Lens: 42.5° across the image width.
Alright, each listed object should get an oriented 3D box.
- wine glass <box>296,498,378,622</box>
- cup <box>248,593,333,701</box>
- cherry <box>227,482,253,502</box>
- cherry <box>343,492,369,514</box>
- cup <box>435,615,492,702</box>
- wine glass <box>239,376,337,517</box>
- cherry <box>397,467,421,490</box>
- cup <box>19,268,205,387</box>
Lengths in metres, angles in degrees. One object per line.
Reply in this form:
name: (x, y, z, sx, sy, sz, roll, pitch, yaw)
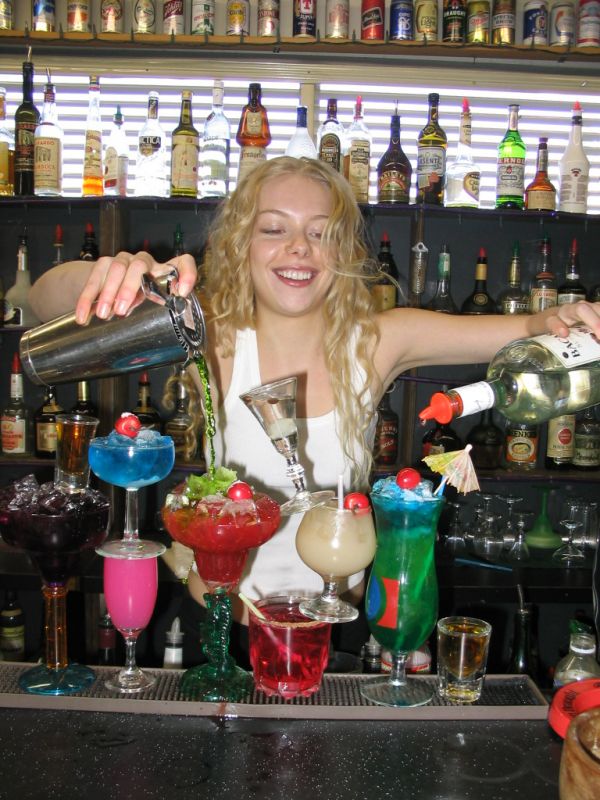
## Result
wine glass: (0.045, 0.222, 1.098, 0.115, 0.176, 0.153, 5, 11, 8)
cup: (-0.018, 0.355, 1.111, 0.136, 0.113, 0.139, 0, -7, 0)
cherry: (-0.084, 0.126, 1.063, 0.028, 0.023, 0.029, 1, 9, -1)
cherry: (0.079, 0.149, 1.120, 0.033, 0.027, 0.029, -1, 2, 0)
cup: (0.233, 0.378, 1.127, 0.083, 0.097, 0.073, 1, -2, 11)
wine glass: (-0.022, 0.070, 1.182, 0.154, 0.211, 0.169, 4, 11, 2)
cherry: (0.155, 0.114, 1.133, 0.037, 0.031, 0.032, -6, 0, 1)
cup: (-0.276, -0.099, 1.107, 0.257, 0.165, 0.084, 7, 11, 19)
